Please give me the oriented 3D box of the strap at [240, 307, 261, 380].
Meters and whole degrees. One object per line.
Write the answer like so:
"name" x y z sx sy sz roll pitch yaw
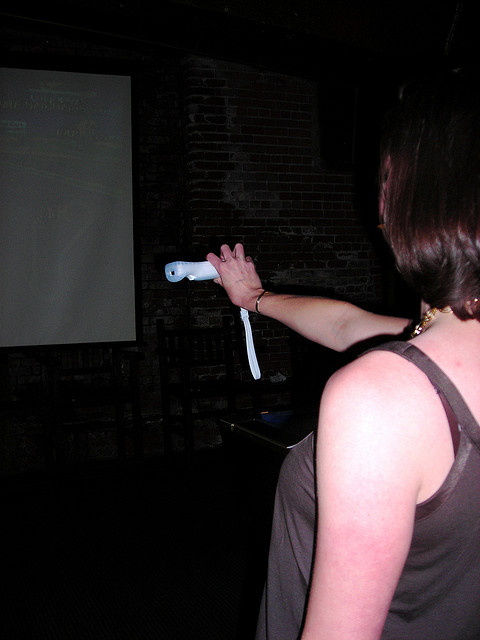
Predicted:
"strap" 0.019 0.057 1.261 0.022 0.167 0.038 -10 -9 25

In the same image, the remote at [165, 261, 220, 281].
"remote" -0.098 -0.114 1.278 0.125 0.042 0.040 -7 69 -17
